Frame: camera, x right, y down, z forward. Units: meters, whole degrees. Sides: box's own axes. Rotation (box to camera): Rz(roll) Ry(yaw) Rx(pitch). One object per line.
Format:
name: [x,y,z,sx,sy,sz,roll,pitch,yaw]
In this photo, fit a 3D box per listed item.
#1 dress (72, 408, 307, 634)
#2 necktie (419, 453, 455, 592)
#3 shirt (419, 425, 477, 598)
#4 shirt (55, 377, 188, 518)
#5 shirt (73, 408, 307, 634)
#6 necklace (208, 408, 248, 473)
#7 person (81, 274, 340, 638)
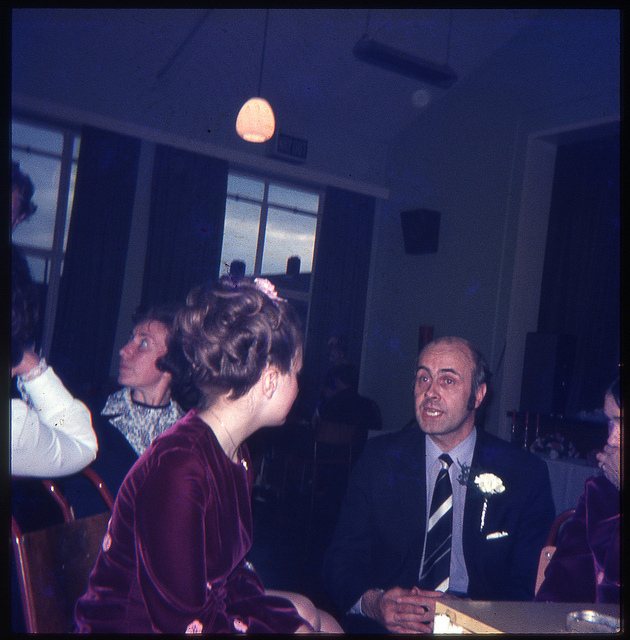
dress: [-0.428,0.681,2.183,0.633,0.899,0.594,5,-9,-10]
necktie: [0.435,0.718,2.078,0.092,0.586,0.041,8,24,19]
shirt: [0.467,0.727,2.133,0.157,0.776,0.054,5,31,27]
shirt: [-0.640,0.435,1.930,0.285,0.365,0.172,9,-11,-24]
shirt: [-0.467,0.674,2.215,0.619,0.898,0.615,4,-10,-13]
necklace: [-0.294,0.392,1.940,0.031,0.216,0.033,-24,20,-15]
person: [-0.430,0.504,2.658,0.994,1.949,0.725,0,-1,-20]
